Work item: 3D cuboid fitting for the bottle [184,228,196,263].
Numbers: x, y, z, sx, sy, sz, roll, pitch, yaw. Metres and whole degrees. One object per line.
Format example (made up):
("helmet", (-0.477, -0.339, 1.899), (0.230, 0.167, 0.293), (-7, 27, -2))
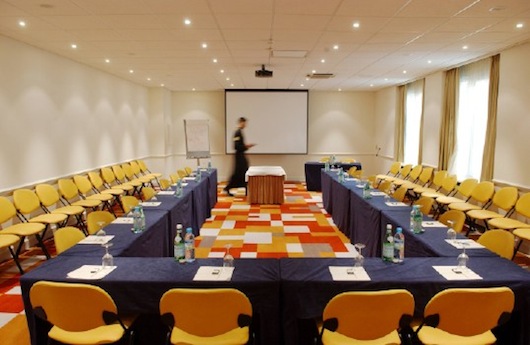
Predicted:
("bottle", (-0.907, 0.832, 4.000), (0.119, 0.355, 0.341), (-2, 9, -14))

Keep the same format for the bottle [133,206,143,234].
("bottle", (-1.781, 0.653, 4.658), (0.118, 0.301, 0.290), (-3, 10, -21))

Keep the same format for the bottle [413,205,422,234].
("bottle", (2.177, 0.622, 4.715), (0.136, 0.357, 0.455), (5, 10, 25))

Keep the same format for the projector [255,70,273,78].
("projector", (-0.027, -2.259, 7.658), (0.396, 0.157, 0.390), (0, 8, 2))

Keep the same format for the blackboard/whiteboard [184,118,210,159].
("blackboard/whiteboard", (-2.201, -1.083, 10.886), (0.772, 1.207, 0.426), (-2, 10, -18))

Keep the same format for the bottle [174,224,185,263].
("bottle", (-1.023, 0.808, 3.973), (0.118, 0.408, 0.302), (-2, 10, -15))
